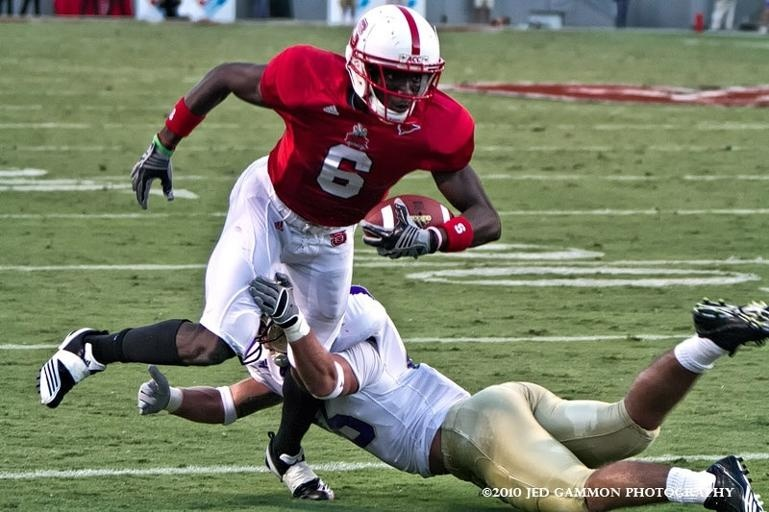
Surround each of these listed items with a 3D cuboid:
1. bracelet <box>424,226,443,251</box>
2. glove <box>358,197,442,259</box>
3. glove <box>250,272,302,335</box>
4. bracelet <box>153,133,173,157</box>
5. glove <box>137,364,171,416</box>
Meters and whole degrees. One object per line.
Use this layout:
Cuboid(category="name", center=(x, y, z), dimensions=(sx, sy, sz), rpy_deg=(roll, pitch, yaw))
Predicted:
Cuboid(category="bracelet", center=(0.320, -0.114, 8.122), dimensions=(0.121, 0.127, 0.116), rpy_deg=(-14, -8, 12))
Cuboid(category="glove", center=(0.135, -0.188, 8.183), dimensions=(0.545, 0.357, 0.451), rpy_deg=(5, 10, 2))
Cuboid(category="glove", center=(-0.615, 0.283, 7.890), dimensions=(0.365, 0.278, 0.176), rpy_deg=(45, -13, 6))
Cuboid(category="bracelet", center=(-1.443, -0.736, 8.689), dimensions=(0.133, 0.111, 0.155), rpy_deg=(24, 6, -13))
Cuboid(category="glove", center=(-1.392, 0.827, 8.216), dimensions=(0.259, 0.295, 0.139), rpy_deg=(18, 22, -1))
